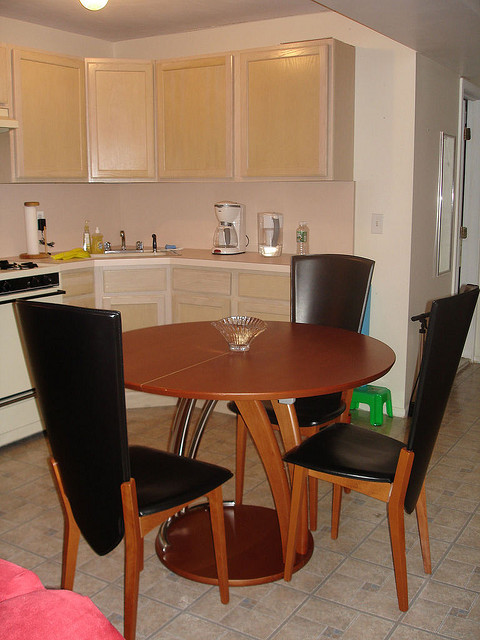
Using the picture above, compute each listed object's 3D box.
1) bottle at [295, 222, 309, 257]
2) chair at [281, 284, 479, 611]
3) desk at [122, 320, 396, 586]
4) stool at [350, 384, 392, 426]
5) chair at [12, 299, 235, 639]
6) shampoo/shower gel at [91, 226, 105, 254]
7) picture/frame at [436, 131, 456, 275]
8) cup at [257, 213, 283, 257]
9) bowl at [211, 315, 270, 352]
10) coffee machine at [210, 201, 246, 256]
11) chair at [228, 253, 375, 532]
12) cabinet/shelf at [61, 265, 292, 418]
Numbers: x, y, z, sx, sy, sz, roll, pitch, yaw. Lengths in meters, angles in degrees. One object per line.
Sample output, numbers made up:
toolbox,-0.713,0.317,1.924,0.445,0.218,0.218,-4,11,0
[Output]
bottle,0.459,-0.594,3.747,0.093,0.211,0.252,1,10,7
chair,0.462,0.409,1.752,0.551,1.040,0.361,4,11,27
desk,-0.045,0.510,2.006,1.068,0.780,1.085,3,8,3
stool,0.845,0.524,3.475,0.286,0.238,0.289,4,10,36
chair,-0.348,0.443,1.568,0.440,1.049,0.477,6,12,33
shampoo/shower gel,-1.097,-0.614,3.982,0.093,0.199,0.261,-3,10,-15
picture/frame,1.497,-0.833,3.765,0.036,1.037,0.503,4,9,32
cup,0.229,-0.642,3.850,0.192,0.315,0.284,0,10,3
bowl,0.007,0.024,1.966,0.156,0.081,0.154,-5,12,1
coffee machine,-0.077,-0.681,3.847,0.250,0.371,0.192,-2,10,-7
chair,0.287,0.333,2.458,0.579,1.181,0.546,-2,6,-26
cabinet/shelf,-0.280,0.268,3.802,1.821,1.360,0.955,1,3,21
